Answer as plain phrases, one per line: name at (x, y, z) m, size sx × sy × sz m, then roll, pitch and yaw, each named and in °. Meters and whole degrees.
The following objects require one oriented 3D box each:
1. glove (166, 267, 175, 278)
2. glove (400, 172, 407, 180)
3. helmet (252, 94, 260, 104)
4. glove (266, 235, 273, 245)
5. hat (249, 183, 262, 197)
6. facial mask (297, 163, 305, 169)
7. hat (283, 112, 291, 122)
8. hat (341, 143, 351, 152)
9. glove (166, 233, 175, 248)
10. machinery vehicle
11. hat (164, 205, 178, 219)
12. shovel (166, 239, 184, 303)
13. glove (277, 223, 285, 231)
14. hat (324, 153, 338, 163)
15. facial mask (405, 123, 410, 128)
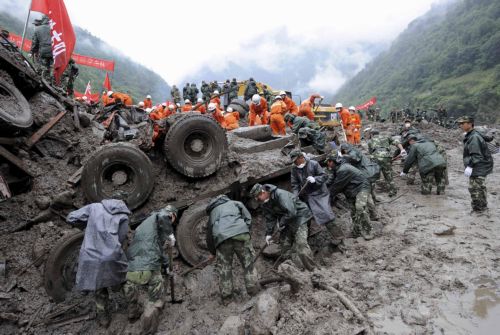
glove at (-1.875, 2.427, 6.852) m, size 0.208 × 0.211 × 0.070 m, roll 2°, pitch -6°, yaw -6°
glove at (5.489, 0.291, 10.539) m, size 0.082 × 0.264 × 0.203 m, roll 14°, pitch 10°, yaw 39°
helmet at (0.241, -2.764, 11.637) m, size 0.279 × 0.384 × 0.202 m, roll -6°, pitch -24°, yaw 18°
glove at (0.499, 1.866, 7.582) m, size 0.136 × 0.288 × 0.260 m, roll 1°, pitch 12°, yaw 15°
hat at (0.139, 0.528, 7.179) m, size 0.333 × 0.123 × 0.266 m, roll -36°, pitch -20°, yaw -5°
facial mask at (1.370, -0.051, 7.889) m, size 0.068 × 0.148 × 0.132 m, roll 43°, pitch 22°, yaw -1°
hat at (1.455, -1.909, 11.260) m, size 0.380 × 0.394 × 0.313 m, roll 11°, pitch 15°, yaw 23°
hat at (2.889, -0.603, 8.941) m, size 0.262 × 0.227 × 0.291 m, roll 4°, pitch 5°, yaw 0°
glove at (-1.874, 1.686, 6.924) m, size 0.193 × 0.329 × 0.181 m, roll -8°, pitch 13°, yaw -28°
machinery vehicle at (1.825, -4.200, 19.727) m, size 8.152 × 3.414 × 2.164 m, roll 0°, pitch 2°, yaw -8°
hat at (-1.874, 1.040, 6.928) m, size 0.264 × 0.259 × 0.219 m, roll -7°, pitch 12°, yaw -24°
shovel at (-1.819, 2.540, 6.834) m, size 0.264 × 1.826 × 0.579 m, roll -6°, pitch 11°, yaw -29°
glove at (0.760, 1.481, 7.439) m, size 0.199 × 0.206 × 0.144 m, roll 8°, pitch -5°, yaw -18°
hat at (2.307, -0.267, 8.174) m, size 0.298 × 0.157 × 0.209 m, roll -13°, pitch 15°, yaw -23°
facial mask at (5.806, -1.545, 10.827) m, size 0.133 × 0.178 × 0.177 m, roll 30°, pitch -6°, yaw -42°
